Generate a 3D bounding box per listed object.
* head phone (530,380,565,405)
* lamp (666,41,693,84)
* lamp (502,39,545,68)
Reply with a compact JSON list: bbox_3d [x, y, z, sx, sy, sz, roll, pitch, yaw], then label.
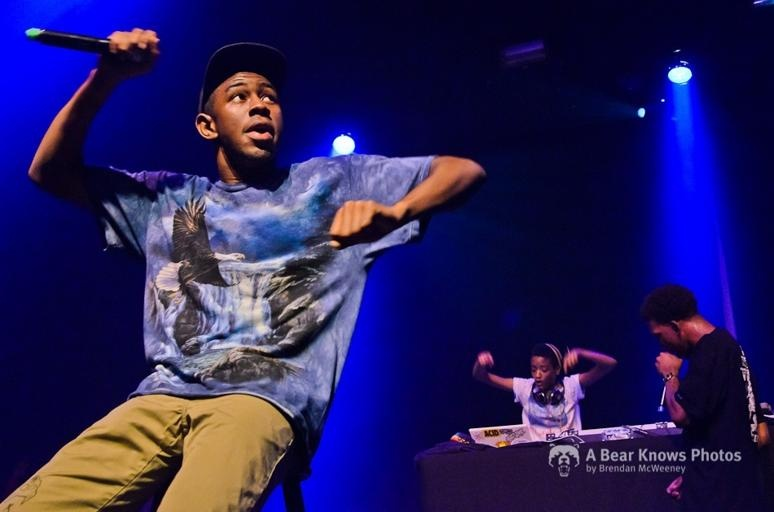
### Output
[{"bbox_3d":[1.774,1.528,8.002,0.360,0.243,0.255,5,6,14],"label":"head phone"},{"bbox_3d":[3.446,-2.232,8.549,0.323,0.388,0.200,0,7,-28],"label":"lamp"},{"bbox_3d":[1.532,-2.269,8.137,0.685,0.272,0.262,-11,15,-17],"label":"lamp"}]
